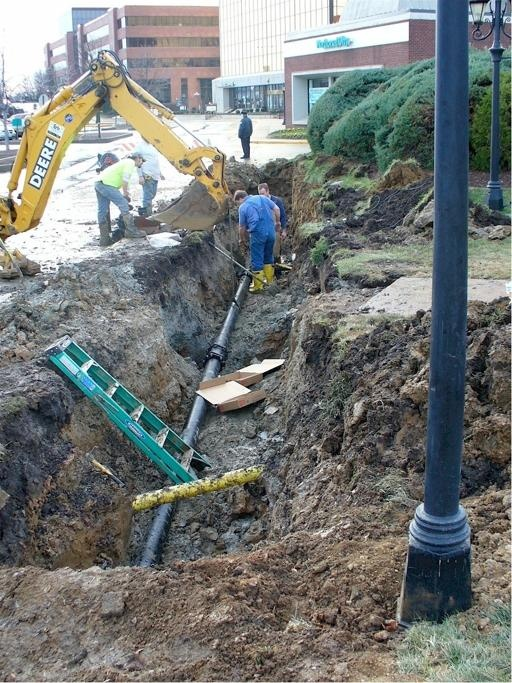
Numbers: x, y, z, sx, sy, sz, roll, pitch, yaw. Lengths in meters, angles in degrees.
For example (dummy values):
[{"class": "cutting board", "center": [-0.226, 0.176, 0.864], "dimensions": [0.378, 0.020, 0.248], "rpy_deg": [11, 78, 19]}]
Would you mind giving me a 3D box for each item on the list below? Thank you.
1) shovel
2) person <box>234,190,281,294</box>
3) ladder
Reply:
[{"class": "shovel", "center": [-0.203, -1.252, 13.653], "dimensions": [0.293, 0.571, 1.932], "rpy_deg": [22, 14, -49]}, {"class": "person", "center": [0.082, -1.709, 13.307], "dimensions": [0.721, 1.755, 1.234], "rpy_deg": [-5, 11, 2]}, {"class": "ladder", "center": [-1.268, 0.673, 7.574], "dimensions": [1.364, 1.503, 0.774], "rpy_deg": [-3, 11, 7]}]
